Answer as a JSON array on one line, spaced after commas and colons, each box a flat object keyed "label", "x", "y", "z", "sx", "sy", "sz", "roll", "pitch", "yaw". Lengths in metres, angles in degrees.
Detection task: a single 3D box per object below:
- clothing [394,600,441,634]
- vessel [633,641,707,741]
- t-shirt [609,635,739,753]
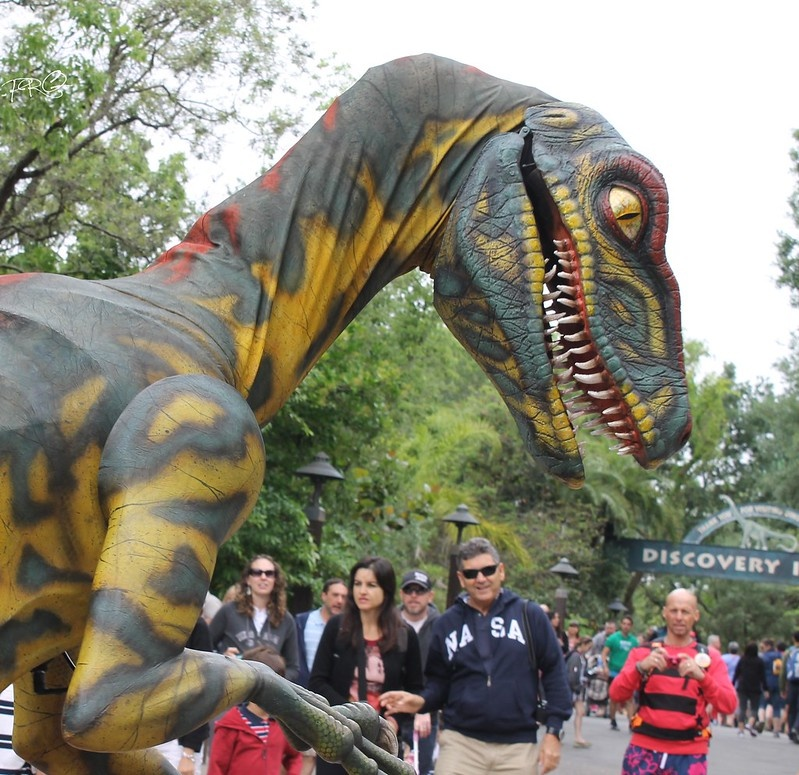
[{"label": "clothing", "x": 0.115, "y": 1.373, "z": 8.107, "sx": 0.290, "sy": 0.145, "sz": 0.320, "roll": 1, "pitch": -52, "yaw": 4}, {"label": "vessel", "x": 1.421, "y": 1.581, "z": 6.887, "sx": 0.469, "sy": 0.478, "sz": 0.293, "roll": 3, "pitch": -7, "yaw": 8}, {"label": "t-shirt", "x": 1.420, "y": 1.608, "z": 6.882, "sx": 0.659, "sy": 0.531, "sz": 0.355, "roll": 1, "pitch": -12, "yaw": 23}]
